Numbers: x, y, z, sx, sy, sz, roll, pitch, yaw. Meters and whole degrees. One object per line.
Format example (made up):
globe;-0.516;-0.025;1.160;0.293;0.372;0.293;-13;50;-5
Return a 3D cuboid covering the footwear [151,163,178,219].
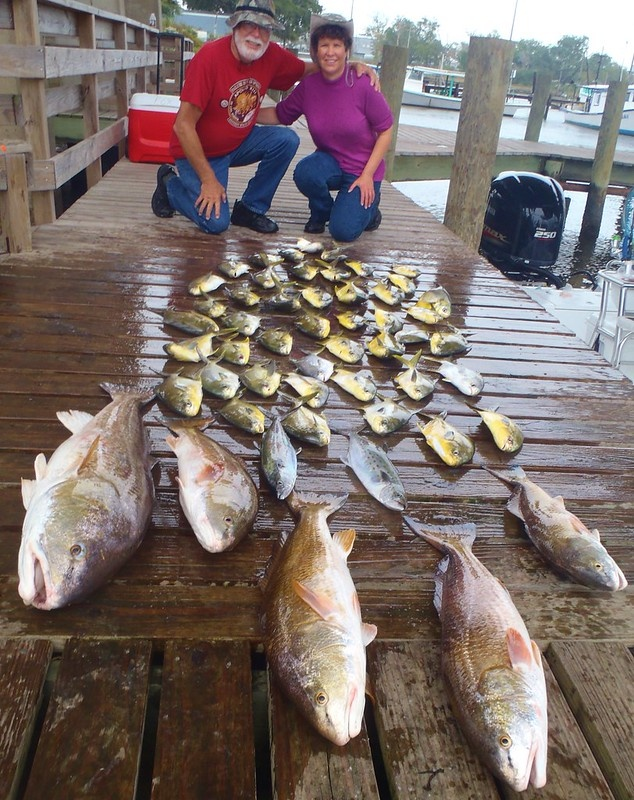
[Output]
footwear;-1.119;-1.544;4.527;0.179;0.405;0.166;-3;22;-10

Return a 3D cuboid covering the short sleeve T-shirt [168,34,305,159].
short sleeve T-shirt;-0.520;-2.001;4.114;0.396;0.768;0.927;19;27;18

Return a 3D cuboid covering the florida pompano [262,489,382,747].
florida pompano;-0.003;0.470;1.401;0.188;0.135;0.527;2;26;-3

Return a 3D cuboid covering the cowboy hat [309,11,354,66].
cowboy hat;0.089;-2.337;3.950;0.288;0.269;0.385;7;25;-5

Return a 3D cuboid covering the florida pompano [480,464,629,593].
florida pompano;0.688;0.360;1.828;0.172;0.097;0.583;-9;20;-8

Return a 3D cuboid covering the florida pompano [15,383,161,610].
florida pompano;-0.588;0.214;1.624;0.221;0.205;0.688;-1;28;-5

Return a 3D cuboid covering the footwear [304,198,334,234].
footwear;0.025;-1.383;4.588;0.141;0.174;0.388;5;42;6
